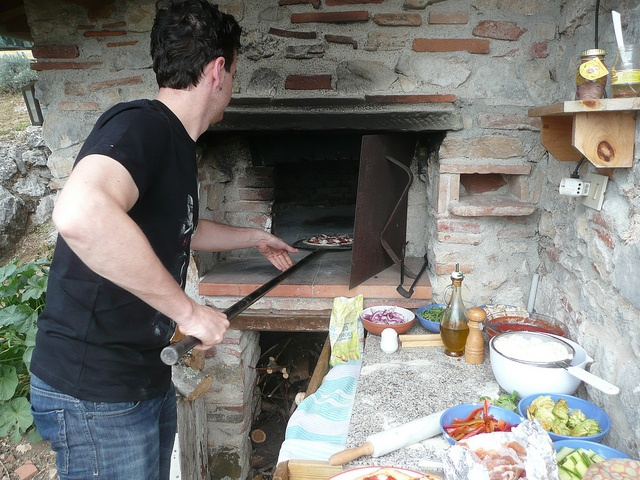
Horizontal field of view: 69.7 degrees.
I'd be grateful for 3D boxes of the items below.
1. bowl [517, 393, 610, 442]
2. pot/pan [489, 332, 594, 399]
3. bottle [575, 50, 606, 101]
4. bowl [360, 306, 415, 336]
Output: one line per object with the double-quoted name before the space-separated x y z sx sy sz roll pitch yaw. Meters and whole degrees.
"bowl" 0.811 0.589 1.527 0.239 0.101 0.231 -1 6 0
"pot/pan" 0.814 0.476 1.722 0.332 0.192 0.256 2 7 20
"bottle" 0.927 -0.567 1.617 0.100 0.183 0.106 3 18 -1
"bowl" 0.327 0.341 2.270 0.263 0.114 0.282 4 13 -1
